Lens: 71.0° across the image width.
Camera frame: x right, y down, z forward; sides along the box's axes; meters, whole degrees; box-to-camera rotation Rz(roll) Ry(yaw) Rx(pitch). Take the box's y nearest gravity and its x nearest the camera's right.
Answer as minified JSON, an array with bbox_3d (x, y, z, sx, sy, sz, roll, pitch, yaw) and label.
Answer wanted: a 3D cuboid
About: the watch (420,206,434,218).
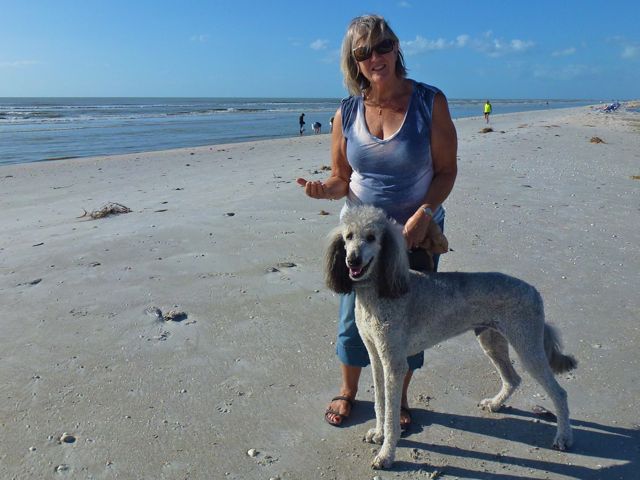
[{"bbox_3d":[0.815,-0.212,3.370,0.098,0.023,0.089,17,46,-30],"label":"watch"}]

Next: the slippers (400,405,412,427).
[{"bbox_3d":[0.718,1.466,3.726,0.069,0.044,0.179,-1,9,1],"label":"slippers"}]
